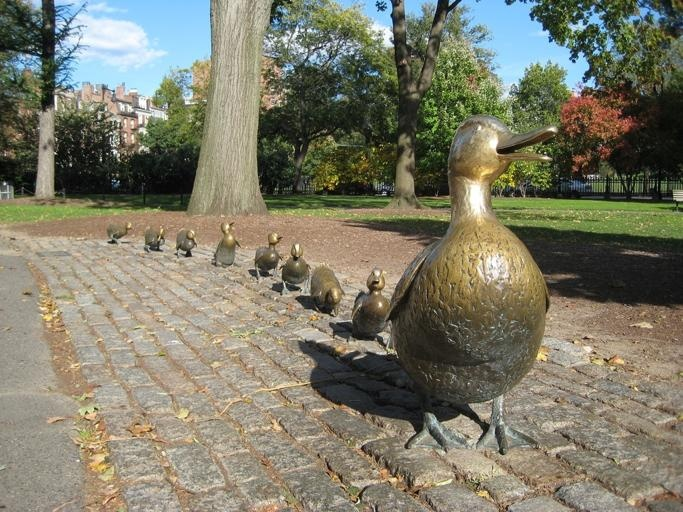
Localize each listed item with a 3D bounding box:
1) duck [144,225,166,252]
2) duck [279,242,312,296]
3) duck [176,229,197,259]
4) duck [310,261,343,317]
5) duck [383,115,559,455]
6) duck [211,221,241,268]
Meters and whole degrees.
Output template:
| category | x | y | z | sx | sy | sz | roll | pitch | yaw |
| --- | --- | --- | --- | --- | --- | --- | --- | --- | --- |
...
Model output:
| category | x | y | z | sx | sy | sz | roll | pitch | yaw |
| --- | --- | --- | --- | --- | --- | --- | --- | --- | --- |
| duck | -4.020 | -0.539 | 11.733 | 0.351 | 0.649 | 0.560 | 0 | 6 | -23 |
| duck | -0.655 | 0.146 | 7.817 | 0.410 | 0.909 | 0.859 | 2 | 6 | -5 |
| duck | -3.170 | -0.416 | 11.089 | 0.348 | 0.674 | 0.906 | 1 | 6 | -19 |
| duck | -0.206 | 0.455 | 6.837 | 0.340 | 0.328 | 0.782 | -2 | 32 | -14 |
| duck | 0.786 | 0.209 | 3.466 | 0.934 | 2.644 | 0.588 | 5 | 6 | 25 |
| duck | -2.109 | -0.345 | 9.950 | 0.435 | 0.987 | 0.971 | 1 | 6 | -12 |
